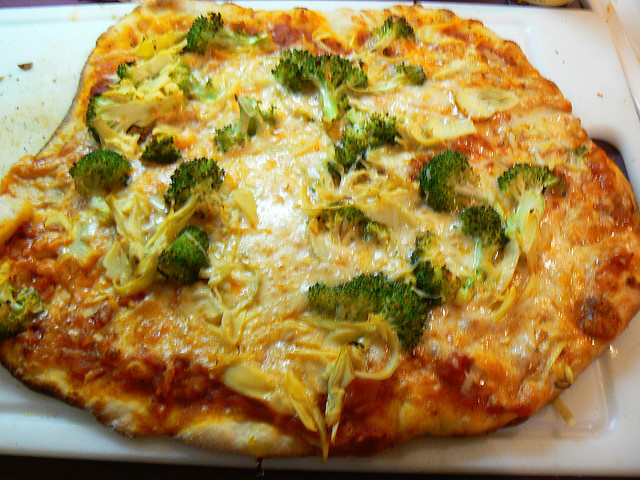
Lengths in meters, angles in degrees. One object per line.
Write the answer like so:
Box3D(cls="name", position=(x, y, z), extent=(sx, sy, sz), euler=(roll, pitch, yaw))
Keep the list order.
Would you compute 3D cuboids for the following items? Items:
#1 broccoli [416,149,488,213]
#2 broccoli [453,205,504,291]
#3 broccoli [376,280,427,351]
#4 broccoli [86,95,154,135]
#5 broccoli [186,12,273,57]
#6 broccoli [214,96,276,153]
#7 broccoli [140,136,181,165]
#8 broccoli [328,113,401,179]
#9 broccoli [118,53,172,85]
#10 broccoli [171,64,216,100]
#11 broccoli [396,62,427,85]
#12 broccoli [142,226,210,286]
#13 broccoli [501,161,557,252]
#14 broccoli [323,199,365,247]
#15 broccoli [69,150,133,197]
Box3D(cls="broccoli", position=(0.749, -0.327, 3.660), extent=(0.331, 0.195, 0.341), euler=(9, 90, -4))
Box3D(cls="broccoli", position=(0.860, 0.013, 3.642), extent=(0.271, 0.091, 0.459), euler=(34, 71, 9))
Box3D(cls="broccoli", position=(0.457, 0.395, 3.502), extent=(0.233, 0.148, 0.368), euler=(0, 69, -8))
Box3D(cls="broccoli", position=(-1.240, -0.774, 3.865), extent=(0.245, 0.084, 0.304), euler=(1, 85, -5))
Box3D(cls="broccoli", position=(-0.624, -1.318, 4.125), extent=(0.397, 0.299, 0.232), euler=(-1, 73, -3))
Box3D(cls="broccoli", position=(-0.412, -0.769, 3.920), extent=(0.251, 0.246, 0.138), euler=(19, 60, 12))
Box3D(cls="broccoli", position=(-0.955, -0.522, 3.851), extent=(0.184, 0.110, 0.162), euler=(-38, 50, -22))
Box3D(cls="broccoli", position=(0.273, -0.612, 3.856), extent=(0.282, 0.136, 0.478), euler=(17, 69, 7))
Box3D(cls="broccoli", position=(-1.112, -1.094, 4.074), extent=(0.220, 0.087, 0.225), euler=(39, 62, 22))
Box3D(cls="broccoli", position=(-0.749, -0.973, 4.069), extent=(0.288, 0.083, 0.205), euler=(4, 37, -3))
Box3D(cls="broccoli", position=(0.580, -1.041, 4.058), extent=(0.143, 0.085, 0.144), euler=(20, 70, -13))
Box3D(cls="broccoli", position=(-0.765, 0.112, 3.527), extent=(0.241, 0.112, 0.394), euler=(29, 71, 0))
Box3D(cls="broccoli", position=(1.204, -0.184, 3.633), extent=(0.309, 0.120, 0.489), euler=(-1, 87, 2))
Box3D(cls="broccoli", position=(0.131, -0.086, 3.615), extent=(0.176, 0.095, 0.259), euler=(25, 89, -8))
Box3D(cls="broccoli", position=(-1.300, -0.395, 3.833), extent=(0.252, 0.221, 0.283), euler=(2, 37, 7))
